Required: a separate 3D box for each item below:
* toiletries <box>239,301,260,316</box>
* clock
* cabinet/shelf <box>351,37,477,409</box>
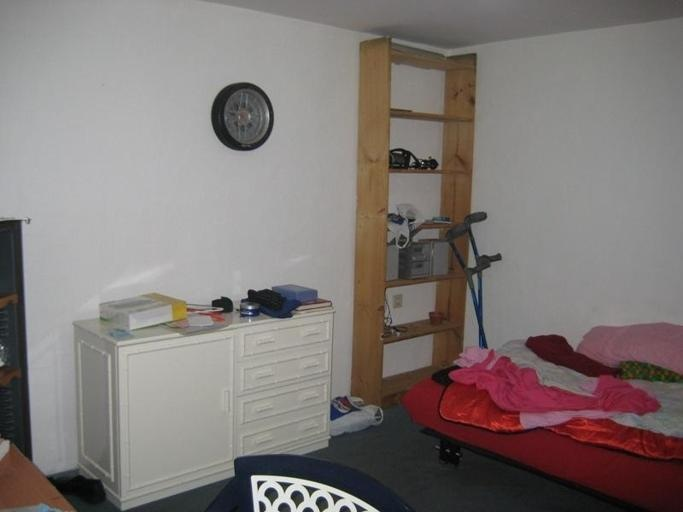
[{"bbox_3d":[-0.615,0.347,3.668,0.095,0.056,0.096,4,6,12],"label":"toiletries"},{"bbox_3d":[-0.683,-0.978,3.873,0.432,0.440,0.105,-10,13,-32],"label":"clock"},{"bbox_3d":[0.639,-0.278,4.732,1.242,2.916,0.378,-6,9,-40],"label":"cabinet/shelf"}]
